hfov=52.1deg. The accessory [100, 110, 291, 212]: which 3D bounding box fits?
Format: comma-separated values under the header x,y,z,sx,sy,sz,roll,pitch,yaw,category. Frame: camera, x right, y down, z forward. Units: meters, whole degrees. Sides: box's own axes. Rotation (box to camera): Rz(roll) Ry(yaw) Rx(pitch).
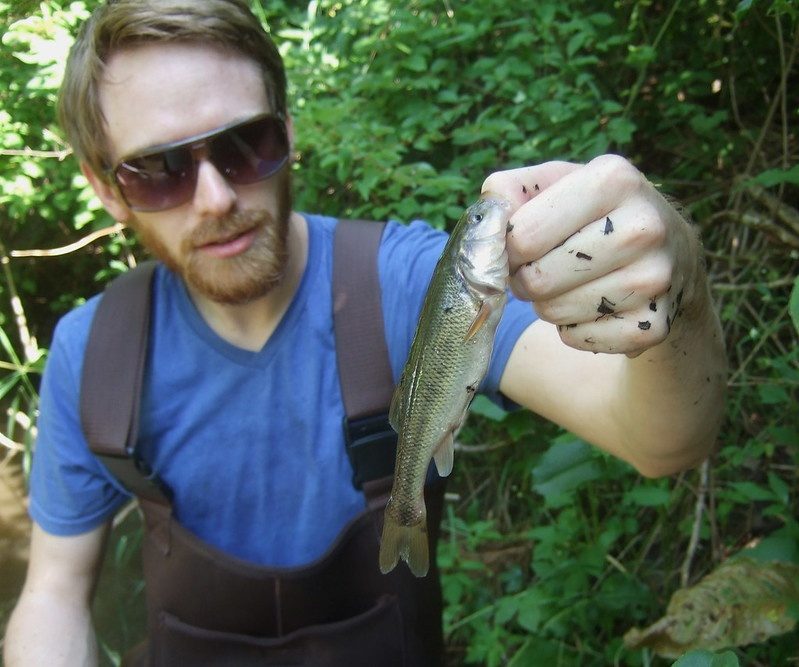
x,y,z,sx,sy,sz,roll,pitch,yaw,category
-0.757,-0.645,3.141,0.635,0.235,0.164,-19,16,-12,accessory
